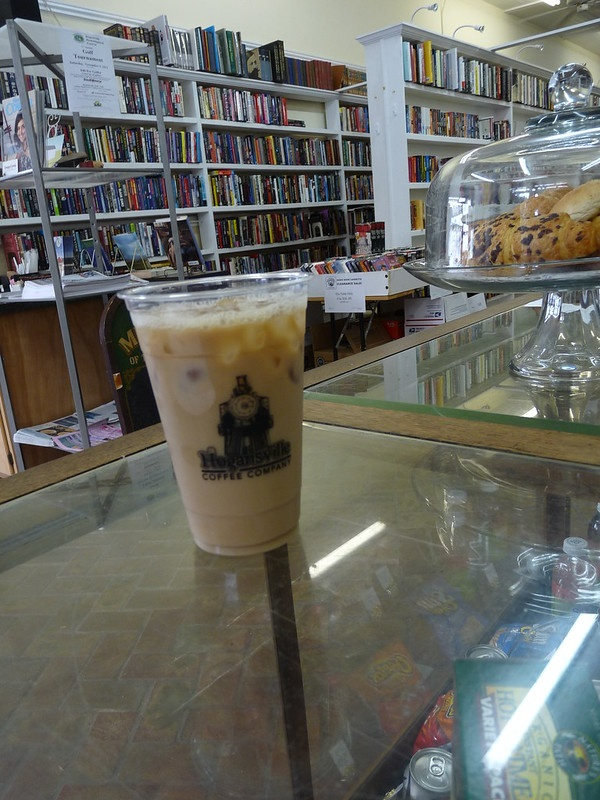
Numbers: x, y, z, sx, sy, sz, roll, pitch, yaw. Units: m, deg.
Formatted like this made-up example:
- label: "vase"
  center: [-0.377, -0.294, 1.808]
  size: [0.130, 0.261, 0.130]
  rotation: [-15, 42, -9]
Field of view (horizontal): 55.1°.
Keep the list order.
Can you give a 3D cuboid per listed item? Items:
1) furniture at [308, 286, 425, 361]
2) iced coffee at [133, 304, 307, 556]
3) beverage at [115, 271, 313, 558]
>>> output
- label: "furniture"
  center: [0.313, -0.386, 2.885]
  size: [0.272, 0.430, 0.478]
  rotation: [13, 27, 35]
- label: "iced coffee"
  center: [-0.032, 0.005, 0.411]
  size: [0.131, 0.166, 0.135]
  rotation: [0, 14, 25]
- label: "beverage"
  center: [-0.033, 0.016, 0.354]
  size: [0.118, 0.147, 0.113]
  rotation: [-6, 3, 2]
